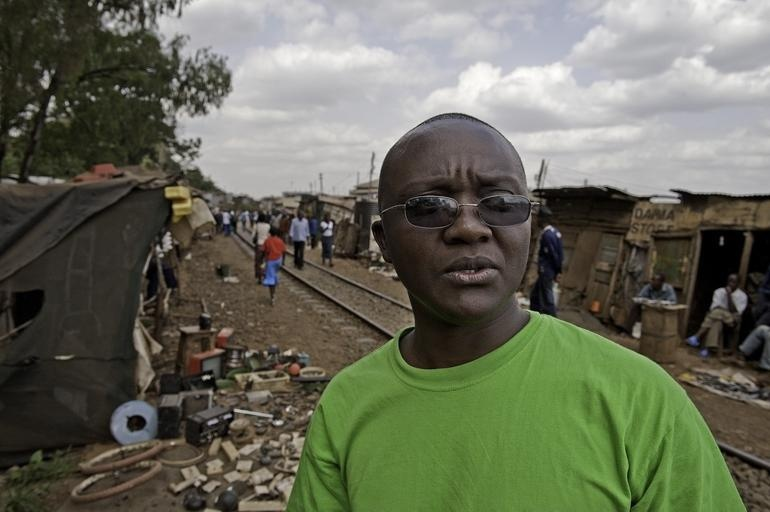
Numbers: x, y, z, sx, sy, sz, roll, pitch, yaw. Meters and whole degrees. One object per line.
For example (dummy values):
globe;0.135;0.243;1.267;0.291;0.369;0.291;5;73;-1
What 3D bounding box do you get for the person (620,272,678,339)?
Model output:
person;6.209;1.192;9.973;1.034;1.671;1.040;24;-15;2
